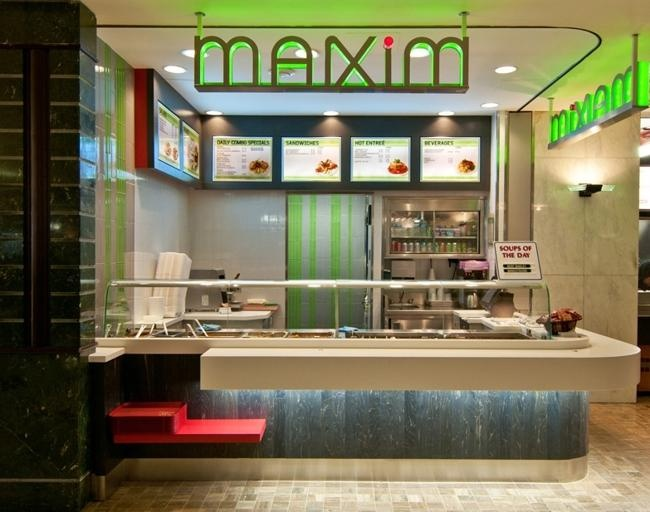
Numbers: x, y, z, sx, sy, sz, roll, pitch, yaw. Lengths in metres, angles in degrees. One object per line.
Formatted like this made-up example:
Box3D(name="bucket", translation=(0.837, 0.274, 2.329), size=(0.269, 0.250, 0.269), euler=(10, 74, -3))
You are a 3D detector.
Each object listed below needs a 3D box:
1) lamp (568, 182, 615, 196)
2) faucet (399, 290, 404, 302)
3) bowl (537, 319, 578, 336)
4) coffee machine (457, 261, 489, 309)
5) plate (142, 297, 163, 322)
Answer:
Box3D(name="lamp", translation=(3.051, -0.763, 6.276), size=(0.478, 0.161, 0.330), euler=(-2, -2, 27))
Box3D(name="faucet", translation=(0.621, 0.324, 4.403), size=(0.044, 0.095, 0.098), euler=(-1, -2, -1))
Box3D(name="bowl", translation=(1.878, 0.574, 4.403), size=(0.417, 0.130, 0.107), euler=(1, -2, -38))
Box3D(name="coffee machine", translation=(1.400, 0.255, 5.134), size=(0.337, 0.618, 0.342), euler=(-1, -8, 15))
Box3D(name="plate", translation=(-1.388, 0.428, 4.306), size=(0.221, 0.209, 0.133), euler=(-2, 4, -37))
